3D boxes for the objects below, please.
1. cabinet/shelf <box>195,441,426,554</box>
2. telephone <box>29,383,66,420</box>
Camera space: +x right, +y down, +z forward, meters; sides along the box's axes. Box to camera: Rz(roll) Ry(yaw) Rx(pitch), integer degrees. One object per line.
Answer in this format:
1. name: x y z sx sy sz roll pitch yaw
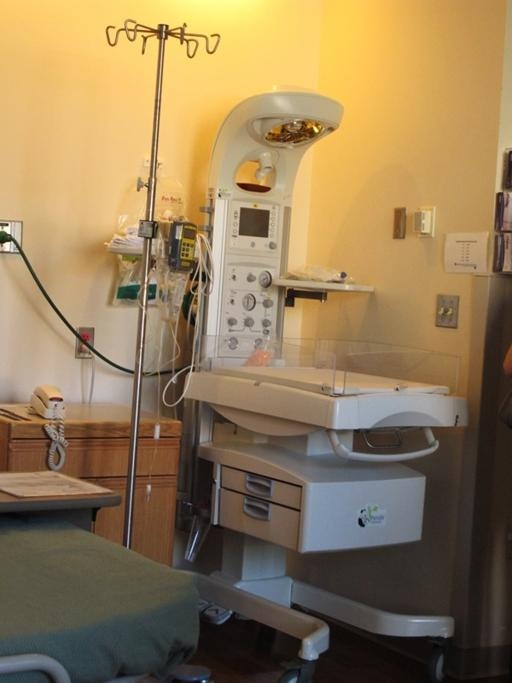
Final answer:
1. cabinet/shelf: 0.176 0.549 2.018 0.469 0.338 0.644 10 -1 -36
2. telephone: -0.760 0.233 2.093 0.088 0.086 0.160 5 0 -26
